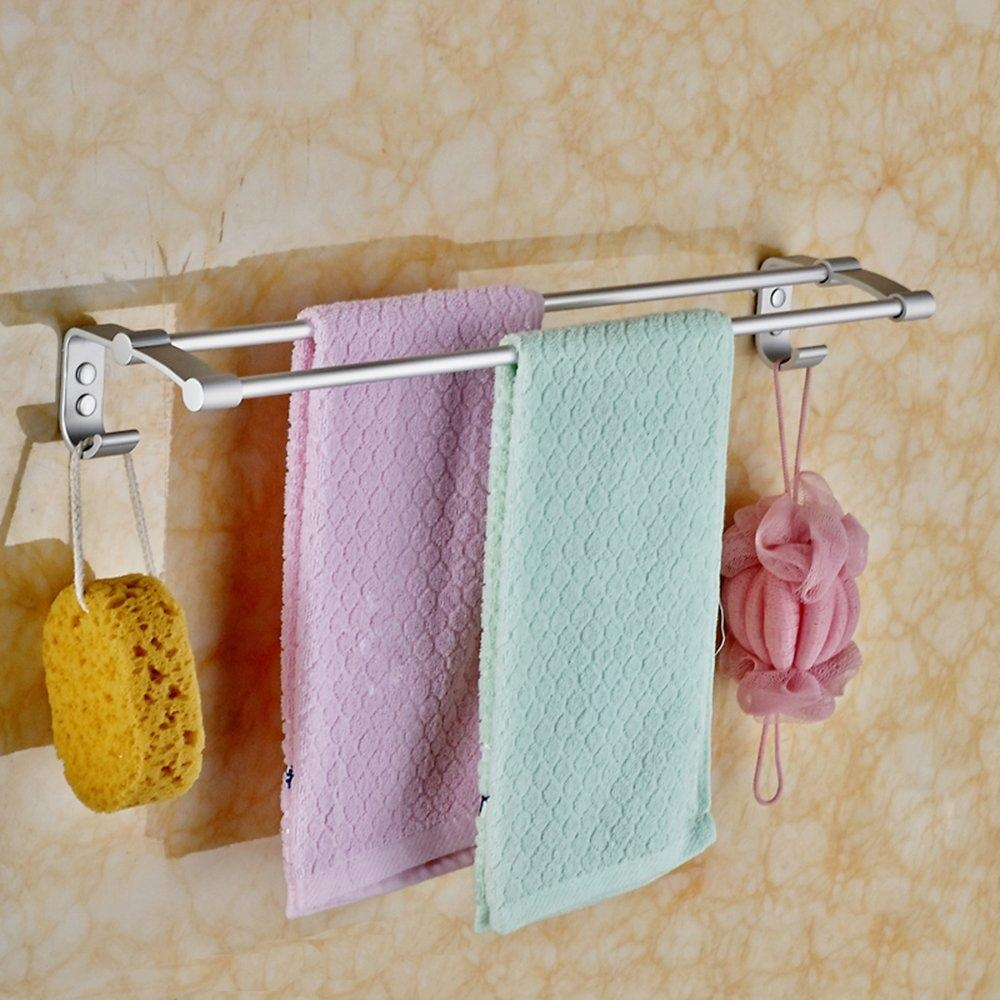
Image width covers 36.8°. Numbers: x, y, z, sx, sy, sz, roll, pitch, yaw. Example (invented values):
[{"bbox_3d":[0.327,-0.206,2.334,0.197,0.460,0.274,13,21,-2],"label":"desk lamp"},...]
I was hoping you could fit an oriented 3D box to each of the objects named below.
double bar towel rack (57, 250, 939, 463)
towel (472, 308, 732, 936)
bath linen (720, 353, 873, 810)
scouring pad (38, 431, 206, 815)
[{"bbox_3d":[-0.023,-0.112,1.121,0.361,0.074,0.100,-6,78,-27],"label":"double bar towel rack"},{"bbox_3d":[0.089,0.094,1.159,0.266,0.049,0.472,-10,107,-43],"label":"towel"},{"bbox_3d":[0.253,0.082,1.349,0.124,0.127,0.381,-1,94,-37],"label":"bath linen"},{"bbox_3d":[-0.274,0.088,1.039,0.123,0.116,0.249,-11,85,2],"label":"scouring pad"}]
